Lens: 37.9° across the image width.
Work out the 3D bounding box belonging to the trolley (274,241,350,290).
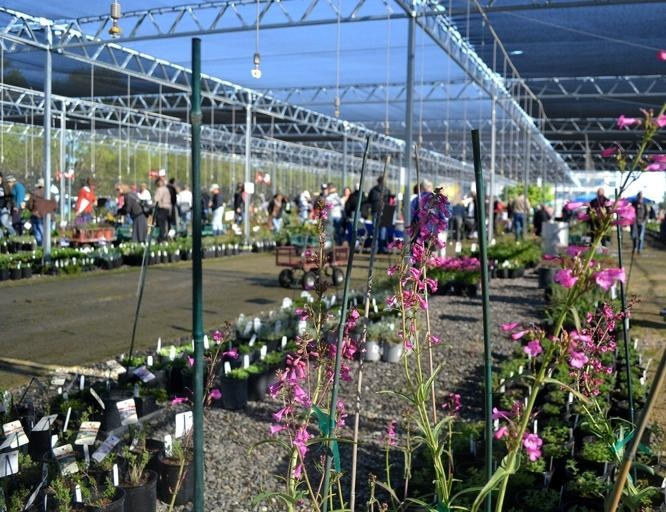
[{"bbox_3d":[-0.453,0.188,16.759,0.752,0.859,1.045,1,1,44],"label":"trolley"}]

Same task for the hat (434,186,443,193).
[{"bbox_3d":[1.014,-0.642,9.330,0.067,0.043,0.112,-1,-2,8],"label":"hat"}]
